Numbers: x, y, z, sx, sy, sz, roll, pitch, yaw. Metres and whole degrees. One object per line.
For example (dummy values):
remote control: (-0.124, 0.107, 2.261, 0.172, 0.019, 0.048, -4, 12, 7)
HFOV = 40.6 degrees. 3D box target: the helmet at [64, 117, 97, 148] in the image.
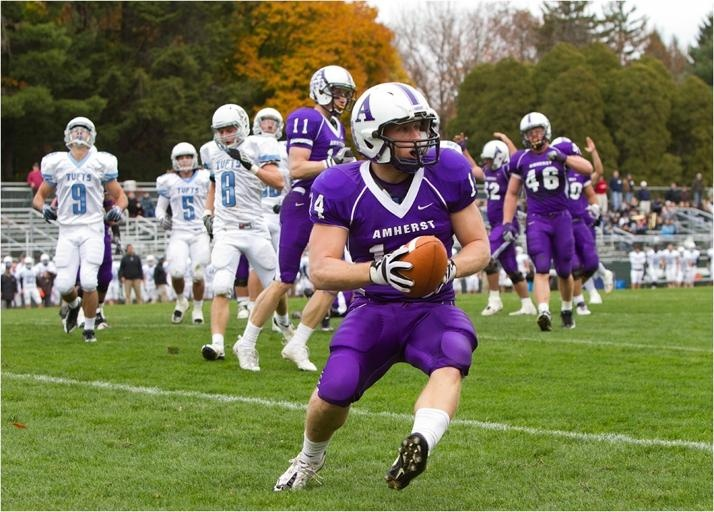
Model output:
helmet: (-3.482, -1.550, 12.184, 0.347, 0.377, 0.391, -4, 10, -22)

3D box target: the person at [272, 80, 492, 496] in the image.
person: (0.277, 0.266, 8.130, 1.511, 3.389, 1.079, 1, 9, 9)

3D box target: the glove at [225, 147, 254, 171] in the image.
glove: (-1.341, -1.125, 11.138, 0.347, 0.117, 0.085, 38, 20, -4)

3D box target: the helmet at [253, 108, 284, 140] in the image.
helmet: (-1.122, -1.697, 12.685, 0.354, 0.437, 0.452, 5, -17, -13)

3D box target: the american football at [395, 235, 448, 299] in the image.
american football: (0.558, 0.048, 8.078, 0.469, 0.381, 0.349, -37, 13, -16)

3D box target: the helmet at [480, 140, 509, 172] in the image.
helmet: (2.255, -1.699, 16.144, 0.490, 0.465, 0.392, -10, 15, 7)

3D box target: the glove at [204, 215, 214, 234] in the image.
glove: (-1.787, -0.395, 11.672, 0.092, 0.273, 0.110, -7, -5, -16)

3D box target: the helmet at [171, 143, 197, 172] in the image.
helmet: (-2.613, -1.484, 14.565, 0.361, 0.402, 0.466, -3, 4, -13)

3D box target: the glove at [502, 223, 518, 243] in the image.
glove: (2.166, -0.380, 13.881, 0.238, 0.122, 0.330, 0, -21, -13)

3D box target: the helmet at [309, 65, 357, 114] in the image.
helmet: (-0.304, -1.902, 10.959, 0.528, 0.523, 0.421, 4, 13, 28)

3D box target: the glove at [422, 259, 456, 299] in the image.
glove: (0.659, 0.150, 8.043, 0.306, 0.174, 0.238, -29, 10, 12)

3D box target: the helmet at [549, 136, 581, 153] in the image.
helmet: (2.859, -1.503, 13.301, 0.327, 0.135, 0.247, 21, 7, 0)

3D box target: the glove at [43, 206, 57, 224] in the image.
glove: (-3.963, -0.566, 12.484, 0.090, 0.176, 0.232, -19, 28, -3)

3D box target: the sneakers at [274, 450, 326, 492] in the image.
sneakers: (-0.478, 1.849, 8.279, 0.327, 0.153, 0.119, -37, 51, -13)
